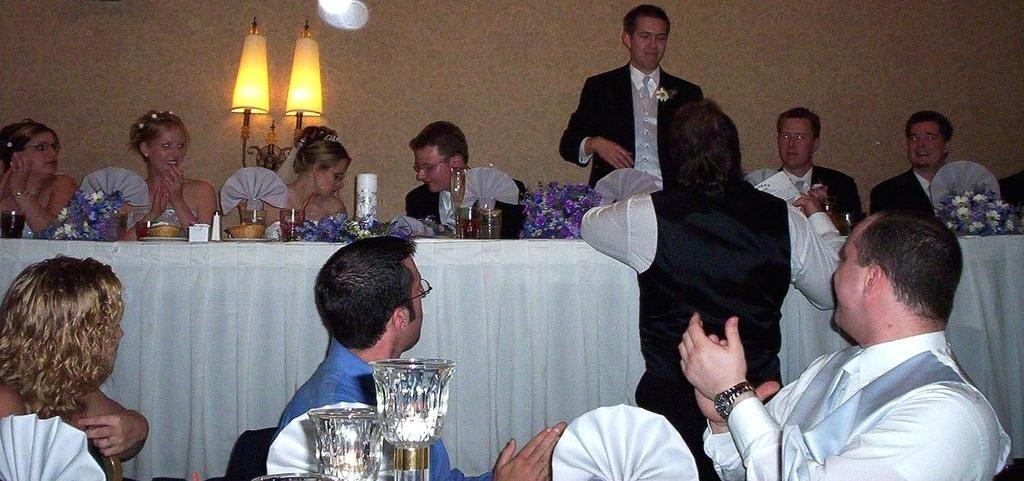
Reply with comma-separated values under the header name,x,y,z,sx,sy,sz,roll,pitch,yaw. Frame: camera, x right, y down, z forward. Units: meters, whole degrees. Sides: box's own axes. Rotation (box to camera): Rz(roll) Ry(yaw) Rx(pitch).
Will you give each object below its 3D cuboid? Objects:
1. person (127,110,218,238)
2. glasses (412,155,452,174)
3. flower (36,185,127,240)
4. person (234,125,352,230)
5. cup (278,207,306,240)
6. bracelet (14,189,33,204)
name,x,y,z,sx,sy,sz,roll,pitch,yaw
person,-3.203,-0.603,7.628,0.764,1.261,1.110,0,-4,-13
glasses,-0.794,-0.714,7.809,0.387,0.125,0.102,-2,-4,24
flower,-3.510,-0.201,6.659,0.605,0.417,0.169,-1,-4,1
person,-2.053,-0.660,7.657,0.959,1.073,1.651,0,-4,-5
cup,-1.814,-0.121,6.785,0.263,0.276,0.268,-1,-6,0
bracelet,-4.448,-0.392,7.424,0.112,0.071,0.102,-1,-6,6
